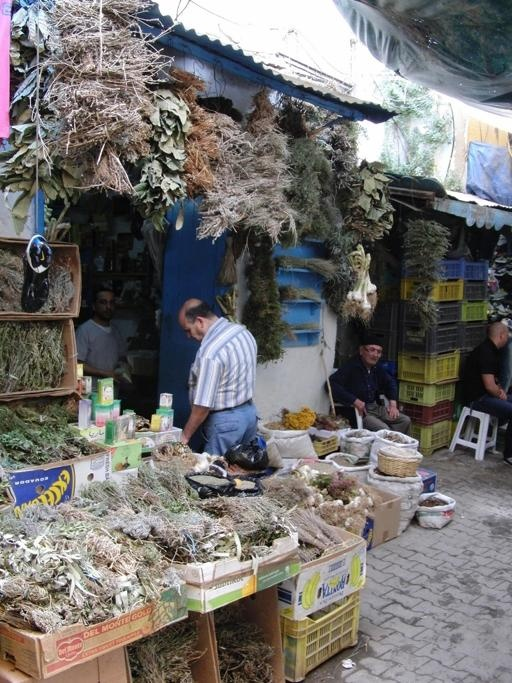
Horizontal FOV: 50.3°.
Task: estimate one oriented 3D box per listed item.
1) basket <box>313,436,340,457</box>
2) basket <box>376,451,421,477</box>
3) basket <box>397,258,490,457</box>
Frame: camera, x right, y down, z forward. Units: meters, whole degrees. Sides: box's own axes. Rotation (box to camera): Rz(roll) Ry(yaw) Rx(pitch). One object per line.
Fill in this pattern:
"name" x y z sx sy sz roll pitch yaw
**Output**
"basket" 0.726 1.068 5.586 0.199 0.113 0.287 -1 2 40
"basket" 1.243 1.066 4.784 0.240 0.130 0.283 2 -3 -12
"basket" 2.473 0.145 7.748 1.624 2.468 1.154 1 1 36
